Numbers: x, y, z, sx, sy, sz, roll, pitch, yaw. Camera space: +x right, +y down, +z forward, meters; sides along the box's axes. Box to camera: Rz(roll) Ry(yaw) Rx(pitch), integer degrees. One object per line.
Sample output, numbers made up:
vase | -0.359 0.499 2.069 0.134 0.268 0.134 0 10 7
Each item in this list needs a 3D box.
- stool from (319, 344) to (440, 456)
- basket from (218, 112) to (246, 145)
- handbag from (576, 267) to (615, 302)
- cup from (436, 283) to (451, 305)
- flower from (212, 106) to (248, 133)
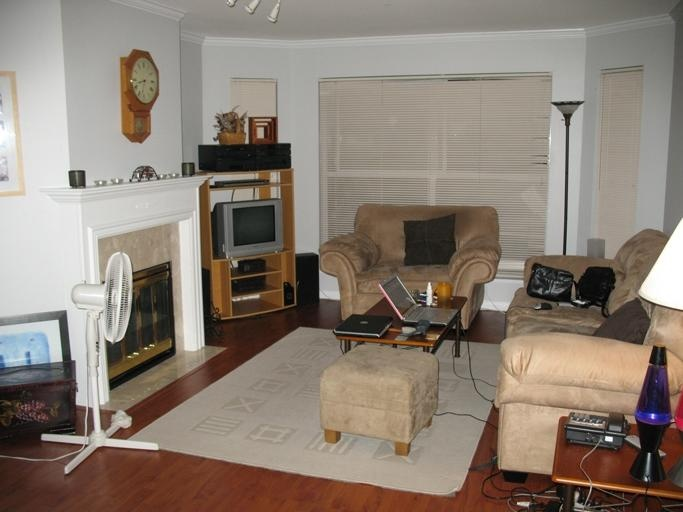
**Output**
stool | 0.262 0.841 3.337 0.625 0.495 0.634 4 11 26
basket | -1.212 -1.410 5.706 0.313 0.361 0.331 -4 13 -14
handbag | 2.139 0.238 4.371 0.093 0.279 0.274 17 10 -46
cup | 0.862 0.313 4.452 0.151 0.172 0.152 1 2 0
flower | -1.224 -1.473 5.774 0.431 0.186 0.439 -6 2 9
